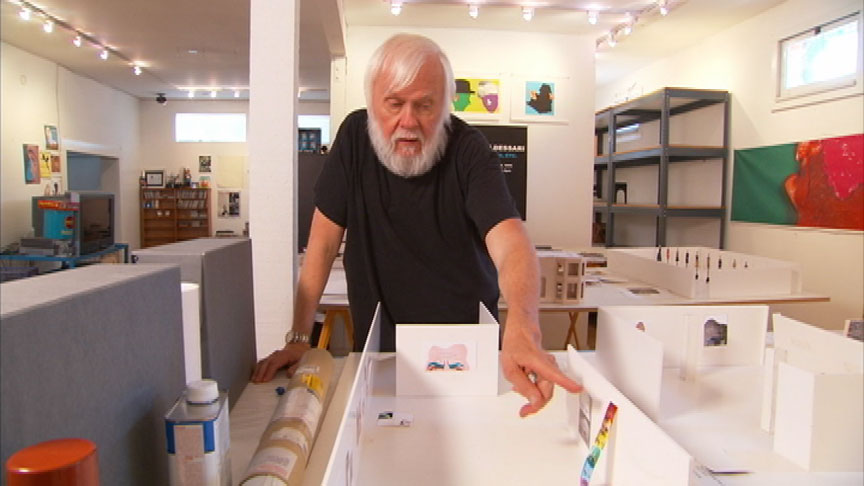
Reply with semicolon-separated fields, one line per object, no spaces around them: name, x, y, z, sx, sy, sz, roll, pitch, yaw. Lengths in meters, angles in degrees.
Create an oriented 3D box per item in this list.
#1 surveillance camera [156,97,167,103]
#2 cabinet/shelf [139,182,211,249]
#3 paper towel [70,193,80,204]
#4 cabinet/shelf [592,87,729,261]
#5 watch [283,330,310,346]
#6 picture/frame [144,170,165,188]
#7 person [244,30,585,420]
surveillance camera;-5.096;-2.694;11.045;0.218;0.127;0.210;0;12;-12
cabinet/shelf;-4.727;-0.538;10.607;1.387;1.404;0.505;0;-1;-11
paper towel;-3.923;-0.494;6.451;0.063;0.103;0.113;-4;8;-31
cabinet/shelf;2.840;-0.869;7.191;0.781;1.956;2.350;-1;6;-9
watch;-0.687;0.480;2.964;0.108;0.063;0.105;-5;-18;4
picture/frame;-5.539;-1.279;11.667;0.384;0.340;0.038;1;10;-5
person;-0.025;-0.191;3.054;1.361;1.775;0.774;2;4;24
